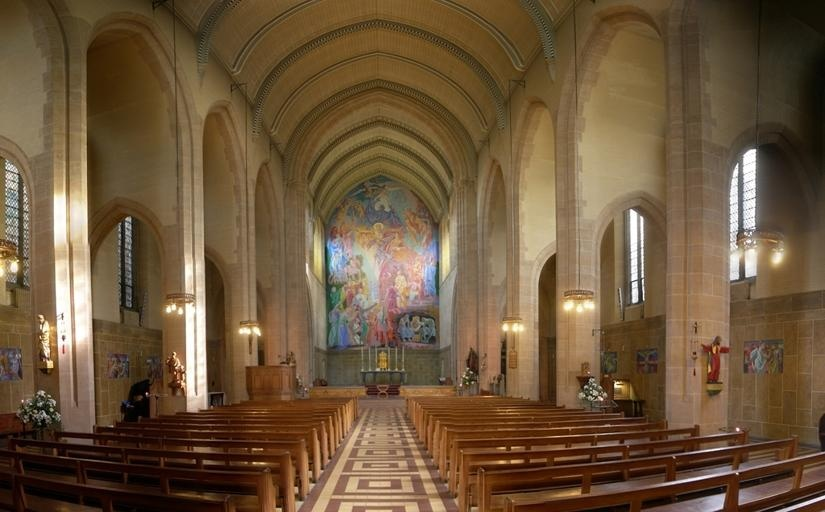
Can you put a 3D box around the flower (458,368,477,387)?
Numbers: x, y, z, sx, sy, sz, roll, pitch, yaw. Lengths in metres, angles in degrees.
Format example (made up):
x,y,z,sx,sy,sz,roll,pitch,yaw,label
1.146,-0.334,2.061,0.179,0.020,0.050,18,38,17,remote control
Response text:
x,y,z,sx,sy,sz,roll,pitch,yaw,label
3.103,6.912,42.720,0.937,1.291,0.959,-4,-5,12,flower

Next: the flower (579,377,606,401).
x,y,z,sx,sy,sz,roll,pitch,yaw,label
6.796,5.064,28.496,0.903,1.025,0.925,-2,3,-28,flower

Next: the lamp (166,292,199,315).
x,y,z,sx,sy,sz,roll,pitch,yaw,label
-8.935,1.780,29.018,1.104,0.859,1.166,2,-13,-18,lamp

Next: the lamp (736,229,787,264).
x,y,z,sx,sy,sz,roll,pitch,yaw,label
11.704,-0.365,25.232,1.150,0.718,1.215,2,-10,-1,lamp

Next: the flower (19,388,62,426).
x,y,z,sx,sy,sz,roll,pitch,yaw,label
-11.657,4.760,23.745,1.095,1.280,1.104,3,-8,-6,flower

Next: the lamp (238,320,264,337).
x,y,z,sx,sy,sz,roll,pitch,yaw,label
-7.642,3.381,35.097,0.778,0.853,0.818,-1,-4,1,lamp

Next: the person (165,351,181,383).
x,y,z,sx,sy,sz,roll,pitch,yaw,label
-9.204,4.329,29.151,0.570,1.222,0.284,-1,-10,-5,person

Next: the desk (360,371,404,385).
x,y,z,sx,sy,sz,roll,pitch,yaw,label
-2.247,9.258,57.821,3.215,1.211,4.054,-2,-13,-2,desk

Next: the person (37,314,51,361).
x,y,z,sx,sy,sz,roll,pitch,yaw,label
-11.616,2.626,23.792,0.434,1.506,0.270,0,-10,-10,person

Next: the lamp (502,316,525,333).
x,y,z,sx,sy,sz,roll,pitch,yaw,label
4.531,3.141,34.262,0.928,0.633,1.028,-5,-13,11,lamp
